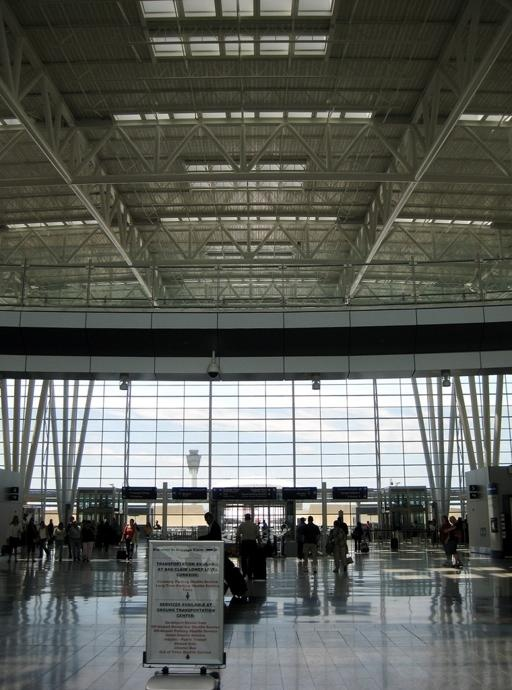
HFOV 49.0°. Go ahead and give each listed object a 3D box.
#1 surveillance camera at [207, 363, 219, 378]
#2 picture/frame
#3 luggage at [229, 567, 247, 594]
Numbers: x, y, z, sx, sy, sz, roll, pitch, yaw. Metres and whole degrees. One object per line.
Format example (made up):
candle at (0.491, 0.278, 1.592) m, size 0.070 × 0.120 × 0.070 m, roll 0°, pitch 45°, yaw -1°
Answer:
surveillance camera at (-1.116, 0.705, 14.499) m, size 0.317 × 0.329 × 0.363 m, roll 11°, pitch 21°, yaw -6°
picture/frame at (-0.548, 1.968, 4.294) m, size 0.592 × 0.747 × 0.482 m, roll -3°, pitch 10°, yaw 3°
luggage at (-0.389, 4.875, 11.429) m, size 0.324 × 0.583 × 0.239 m, roll -2°, pitch 10°, yaw 11°
